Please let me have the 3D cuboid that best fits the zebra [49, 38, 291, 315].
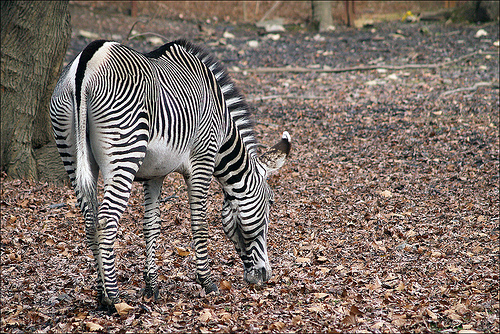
[{"bbox_3d":[-1.250,-0.040,11.416,3.099,3.578,2.562,-14,39,-13],"label":"zebra"}]
